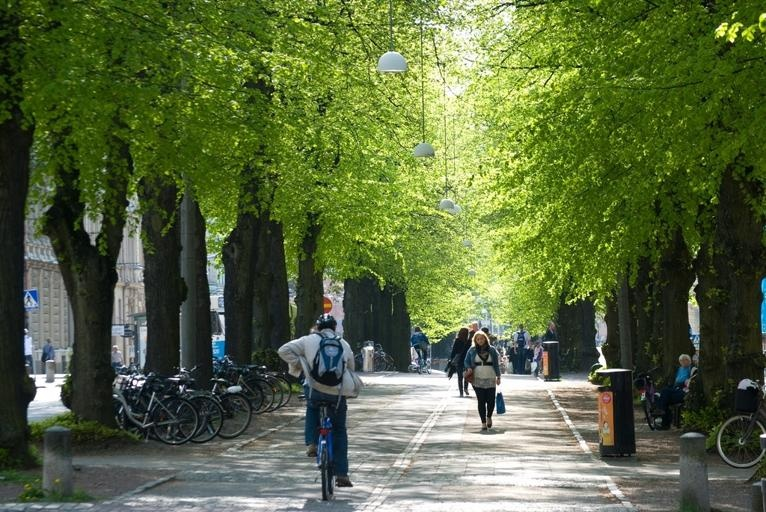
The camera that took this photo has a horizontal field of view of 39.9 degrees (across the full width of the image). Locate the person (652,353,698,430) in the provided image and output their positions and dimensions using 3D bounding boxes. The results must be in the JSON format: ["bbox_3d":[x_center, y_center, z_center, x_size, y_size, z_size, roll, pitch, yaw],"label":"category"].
[{"bbox_3d":[7.075,3.210,25.412,1.076,1.785,1.036,-6,-10,39],"label":"person"}]

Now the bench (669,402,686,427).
[{"bbox_3d":[6.980,3.694,25.015,0.267,0.666,0.714,2,-4,6],"label":"bench"}]

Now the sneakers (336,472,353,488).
[{"bbox_3d":[-0.655,3.657,17.349,0.233,0.199,0.464,1,-9,-4],"label":"sneakers"}]

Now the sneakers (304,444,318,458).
[{"bbox_3d":[-1.158,3.114,17.110,0.114,0.138,0.319,1,0,2],"label":"sneakers"}]

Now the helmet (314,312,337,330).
[{"bbox_3d":[-0.967,1.101,17.643,0.285,0.345,0.356,1,7,1],"label":"helmet"}]

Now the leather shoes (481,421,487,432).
[{"bbox_3d":[2.354,3.948,24.678,0.190,0.230,0.578,1,2,8],"label":"leather shoes"}]

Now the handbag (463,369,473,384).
[{"bbox_3d":[2.017,2.809,24.932,0.120,0.295,0.291,2,0,4],"label":"handbag"}]

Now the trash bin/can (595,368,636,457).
[{"bbox_3d":[4.676,3.121,21.307,0.648,1.740,0.852,-3,-8,26],"label":"trash bin/can"}]

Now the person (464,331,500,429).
[{"bbox_3d":[2.374,2.901,25.284,0.813,2.385,1.535,0,-8,5],"label":"person"}]

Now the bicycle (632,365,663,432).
[{"bbox_3d":[6.581,3.556,26.164,0.671,0.899,1.527,-23,2,19],"label":"bicycle"}]
